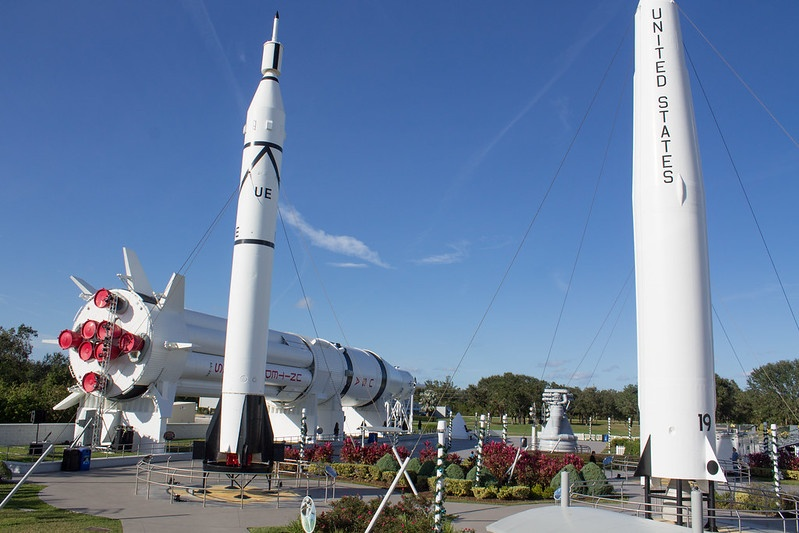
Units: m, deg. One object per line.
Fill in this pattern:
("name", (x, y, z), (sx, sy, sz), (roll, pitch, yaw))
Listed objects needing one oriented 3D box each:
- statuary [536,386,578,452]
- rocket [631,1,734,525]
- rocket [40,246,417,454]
("statuary", (12.156, 11.799, 43.864), (2.628, 4.735, 1.710), (-1, -20, 10))
("rocket", (9.339, -1.561, 19.735), (2.297, 16.736, 3.125), (-1, -19, 10))
("rocket", (-8.093, 9.332, 43.252), (9.327, 12.316, 30.399), (-9, -21, 31))
